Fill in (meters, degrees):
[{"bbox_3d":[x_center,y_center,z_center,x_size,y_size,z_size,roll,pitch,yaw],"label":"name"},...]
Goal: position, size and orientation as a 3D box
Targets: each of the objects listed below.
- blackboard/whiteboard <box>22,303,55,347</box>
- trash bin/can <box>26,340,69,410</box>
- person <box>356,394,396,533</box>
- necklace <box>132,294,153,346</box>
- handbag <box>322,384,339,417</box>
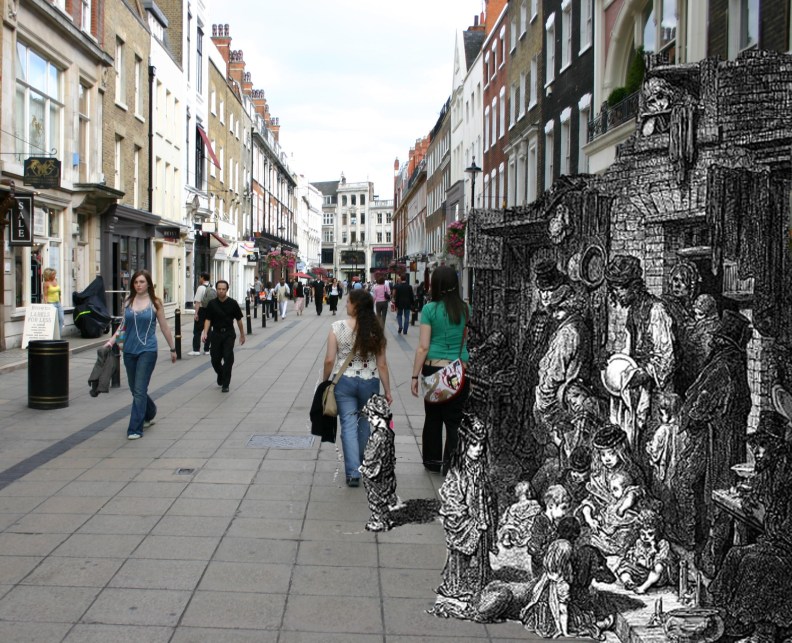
[{"bbox_3d":[-6.737,0.047,17.495,0.584,1.071,0.539,1,6,-3],"label":"blackboard/whiteboard"},{"bbox_3d":[-4.712,0.698,12.549,0.489,0.916,0.288,-1,3,-16],"label":"trash bin/can"},{"bbox_3d":[-0.148,1.177,7.975,0.323,1.003,0.836,0,3,-1],"label":"person"},{"bbox_3d":[-3.001,0.042,11.035,0.233,0.515,0.207,-1,3,-18],"label":"necklace"},{"bbox_3d":[-0.622,0.725,8.729,0.124,0.325,0.098,-1,3,-15],"label":"handbag"}]
